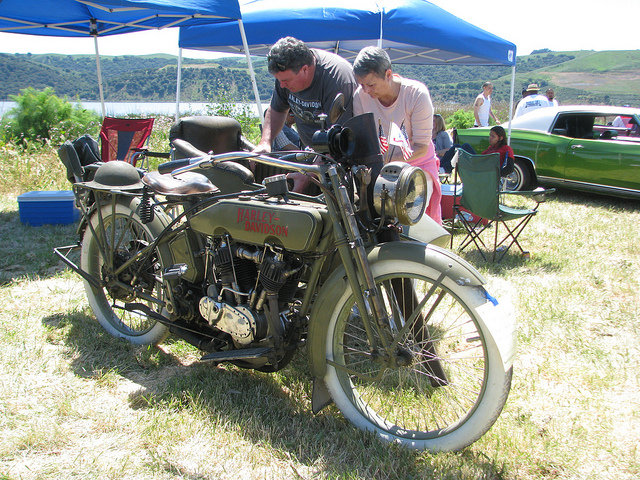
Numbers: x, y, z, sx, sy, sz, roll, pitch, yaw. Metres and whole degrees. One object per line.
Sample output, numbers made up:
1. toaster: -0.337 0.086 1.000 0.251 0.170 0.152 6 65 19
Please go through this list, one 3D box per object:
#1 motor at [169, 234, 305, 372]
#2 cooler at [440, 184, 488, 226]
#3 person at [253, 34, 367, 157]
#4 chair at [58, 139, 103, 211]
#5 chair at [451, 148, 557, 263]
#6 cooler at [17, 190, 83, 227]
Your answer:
1. motor: -0.499 0.383 3.768 1.142 0.913 0.581 19 7 24
2. cooler: 1.929 -0.500 7.112 0.817 0.595 0.654 8 13 40
3. person: -0.085 -1.166 4.330 0.896 1.074 0.916 -20 39 -21
4. chair: -1.990 -0.602 4.466 0.330 0.455 0.331 7 24 2
5. chair: 2.141 -0.394 6.077 0.901 1.326 1.074 -5 13 -28
6. cooler: -3.589 -0.252 6.779 0.708 0.397 0.748 -8 -18 -18
